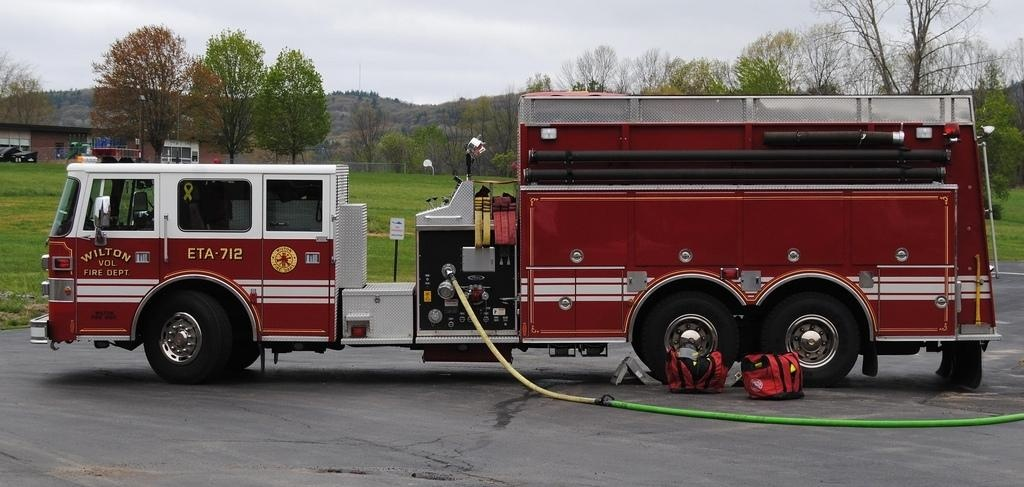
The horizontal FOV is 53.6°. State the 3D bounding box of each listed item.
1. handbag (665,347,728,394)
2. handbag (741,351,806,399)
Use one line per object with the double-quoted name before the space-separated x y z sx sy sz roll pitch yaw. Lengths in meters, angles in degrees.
"handbag" 4.593 3.142 25.175 1.447 0.922 0.395 -1 0 9
"handbag" 6.353 3.346 25.449 1.573 0.954 1.308 -3 -9 12
